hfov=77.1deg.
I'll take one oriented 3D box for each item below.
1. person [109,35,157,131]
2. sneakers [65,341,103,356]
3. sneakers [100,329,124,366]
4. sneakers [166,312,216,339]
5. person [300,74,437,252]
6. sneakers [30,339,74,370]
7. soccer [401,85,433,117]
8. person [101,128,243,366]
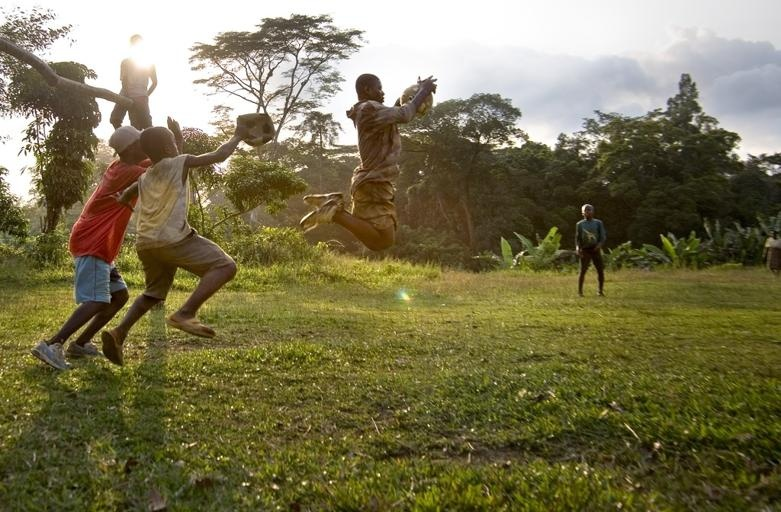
[{"bbox_3d":[-5.459,-3.389,10.341,0.942,1.450,0.628,-5,14,-25],"label":"person"},{"bbox_3d":[-3.361,1.016,5.356,0.405,0.157,0.151,11,20,-48],"label":"sneakers"},{"bbox_3d":[-2.767,0.915,4.857,0.154,0.435,0.239,0,12,-3],"label":"sneakers"},{"bbox_3d":[-1.947,0.734,4.855,0.487,0.154,0.222,21,6,-20],"label":"sneakers"},{"bbox_3d":[-0.257,-1.068,5.903,1.492,2.130,0.575,-4,13,-19],"label":"person"},{"bbox_3d":[-3.368,0.967,4.851,0.287,0.279,0.256,-4,13,-19],"label":"sneakers"},{"bbox_3d":[0.311,-1.867,5.960,0.391,0.338,0.616,1,11,1],"label":"soccer"},{"bbox_3d":[-2.253,-0.094,4.998,1.397,2.375,1.231,-10,16,-40],"label":"person"}]
